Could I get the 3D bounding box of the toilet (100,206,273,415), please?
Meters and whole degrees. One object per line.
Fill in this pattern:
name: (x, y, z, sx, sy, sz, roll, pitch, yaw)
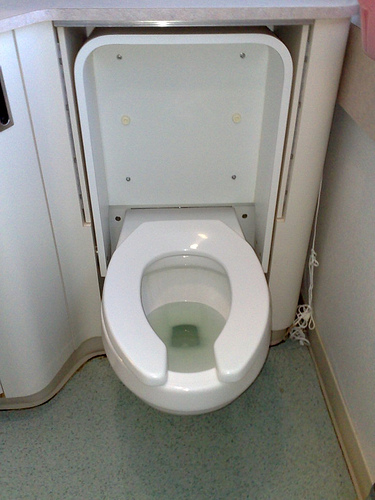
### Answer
toilet: (-0.008, 0.072, 0.872, 0.307, 0.347, 0.561, -2, 57, 0)
